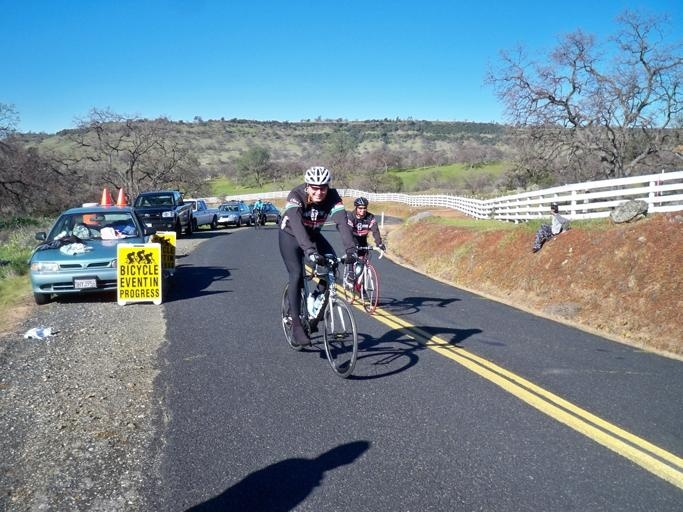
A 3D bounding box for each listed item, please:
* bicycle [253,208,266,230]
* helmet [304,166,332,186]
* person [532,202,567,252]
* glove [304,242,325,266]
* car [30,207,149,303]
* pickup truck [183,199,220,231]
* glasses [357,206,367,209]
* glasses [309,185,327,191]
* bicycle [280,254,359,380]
[{"bbox_3d":[-5.802,-2.514,33.547,0.726,1.072,1.580,0,3,1],"label":"bicycle"},{"bbox_3d":[-0.322,-1.051,6.443,0.307,0.249,0.340,1,8,-5],"label":"helmet"},{"bbox_3d":[6.107,-0.810,14.387,1.206,1.418,0.964,-3,8,-27],"label":"person"},{"bbox_3d":[-0.358,0.002,6.415,0.233,0.252,0.317,-2,9,-25],"label":"glove"},{"bbox_3d":[-5.712,-0.077,11.144,2.119,1.932,2.328,-1,8,-17],"label":"car"},{"bbox_3d":[-8.578,-2.575,29.633,1.127,1.378,2.990,0,2,9],"label":"pickup truck"},{"bbox_3d":[0.460,-1.098,11.117,0.193,0.066,0.083,-6,11,-42],"label":"glasses"},{"bbox_3d":[-0.309,-0.898,6.509,0.227,0.082,0.161,0,8,-10],"label":"glasses"},{"bbox_3d":[-0.167,0.792,6.677,0.530,1.636,1.251,-3,9,-31],"label":"bicycle"}]
